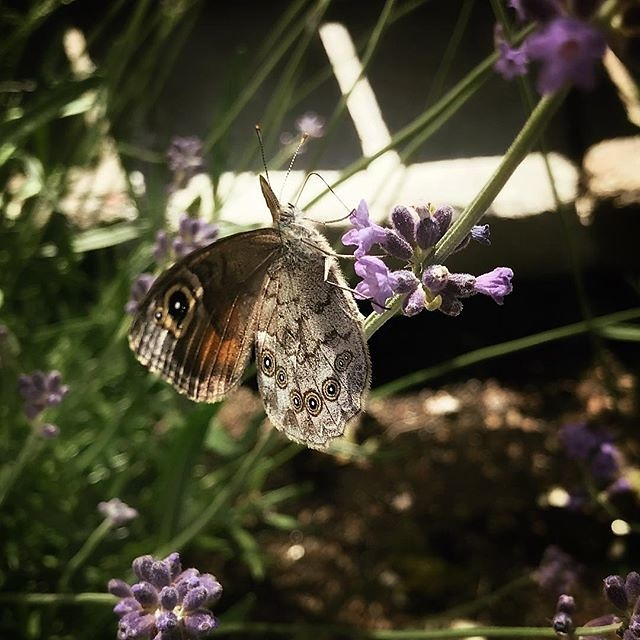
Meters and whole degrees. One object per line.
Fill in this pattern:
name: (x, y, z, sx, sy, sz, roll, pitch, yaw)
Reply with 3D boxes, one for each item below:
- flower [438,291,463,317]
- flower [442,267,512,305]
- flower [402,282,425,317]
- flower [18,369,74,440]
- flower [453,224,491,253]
flower: (0.190, -0.023, 1.108, 0.030, 0.035, 0.009, -36, 4, 23)
flower: (0.228, -0.050, 1.071, 0.093, 0.040, 0.048, 5, 3, 25)
flower: (0.137, -0.027, 1.081, 0.021, 0.049, 0.019, 36, -45, 1)
flower: (-0.418, 0.122, 1.126, 0.047, 0.094, 0.107, -23, -21, -31)
flower: (0.228, -0.122, 1.129, 0.030, 0.047, 0.052, 38, 5, -5)
